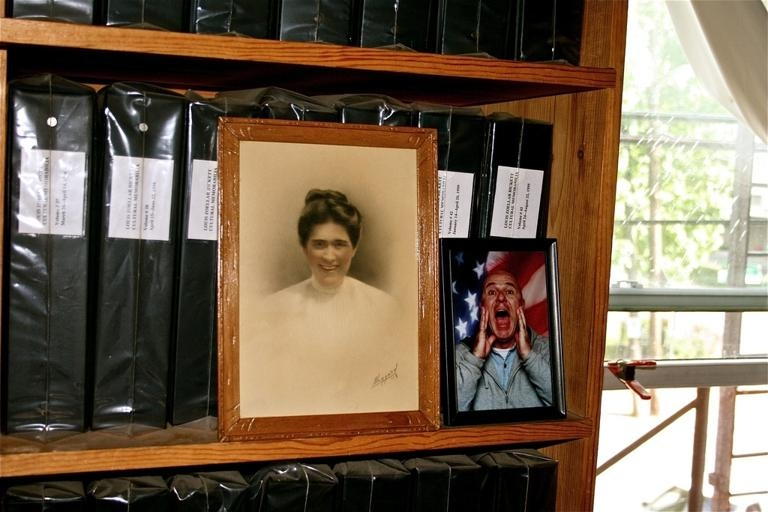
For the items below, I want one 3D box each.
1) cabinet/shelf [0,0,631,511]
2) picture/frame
[{"bbox_3d":[-0.216,0.001,2.311,1.387,1.248,0.397,1,-1,-17],"label":"cabinet/shelf"},{"bbox_3d":[-0.127,0.054,2.294,0.518,0.726,0.260,0,-21,-7],"label":"picture/frame"}]
